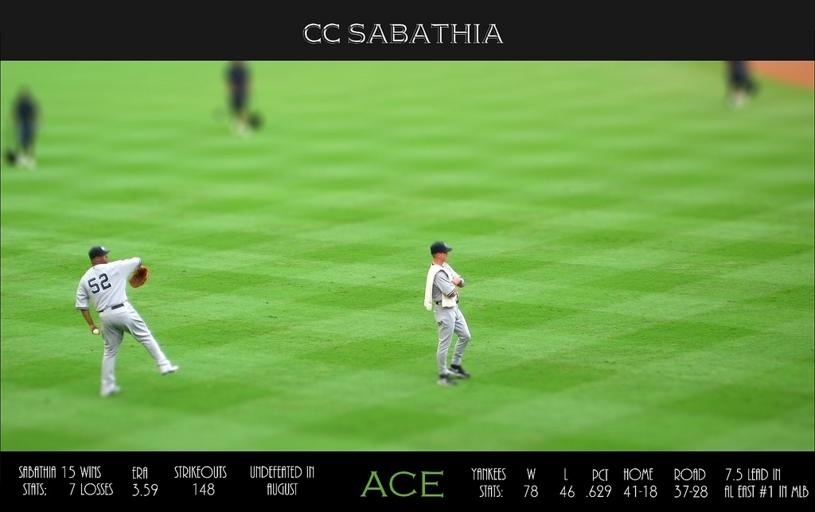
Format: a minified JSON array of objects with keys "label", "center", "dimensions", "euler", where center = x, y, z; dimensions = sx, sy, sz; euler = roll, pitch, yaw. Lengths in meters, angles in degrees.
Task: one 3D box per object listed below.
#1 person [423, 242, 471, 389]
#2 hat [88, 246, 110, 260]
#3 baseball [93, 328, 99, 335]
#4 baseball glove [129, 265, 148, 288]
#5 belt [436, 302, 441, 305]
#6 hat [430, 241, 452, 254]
[{"label":"person","center":[0.723,1.100,18.780],"dimensions":[0.737,2.614,1.072],"euler":[-6,23,1]},{"label":"hat","center":[-6.020,-0.046,19.210],"dimensions":[0.346,0.187,0.251],"euler":[-30,25,-26]},{"label":"baseball","center":[-5.759,1.400,18.225],"dimensions":[0.124,0.103,0.119],"euler":[-12,22,-33]},{"label":"baseball glove","center":[-5.045,0.418,18.792],"dimensions":[0.371,0.113,0.457],"euler":[24,69,46]},{"label":"belt","center":[0.552,0.900,18.630],"dimensions":[0.072,0.041,0.054],"euler":[0,2,38]},{"label":"hat","center":[0.624,-0.143,18.707],"dimensions":[0.371,0.158,0.236],"euler":[-2,14,-5]}]
